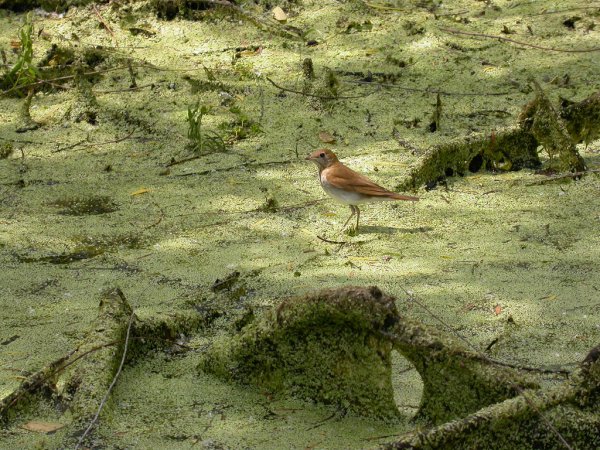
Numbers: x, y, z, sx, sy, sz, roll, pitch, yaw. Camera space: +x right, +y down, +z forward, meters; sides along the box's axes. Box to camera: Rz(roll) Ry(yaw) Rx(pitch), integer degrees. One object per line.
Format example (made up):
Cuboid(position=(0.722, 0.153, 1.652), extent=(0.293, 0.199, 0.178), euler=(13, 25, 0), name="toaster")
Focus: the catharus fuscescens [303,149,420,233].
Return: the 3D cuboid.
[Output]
Cuboid(position=(0.590, -0.355, 6.284), extent=(0.759, 0.646, 0.788), euler=(-11, 23, -8), name="catharus fuscescens")
